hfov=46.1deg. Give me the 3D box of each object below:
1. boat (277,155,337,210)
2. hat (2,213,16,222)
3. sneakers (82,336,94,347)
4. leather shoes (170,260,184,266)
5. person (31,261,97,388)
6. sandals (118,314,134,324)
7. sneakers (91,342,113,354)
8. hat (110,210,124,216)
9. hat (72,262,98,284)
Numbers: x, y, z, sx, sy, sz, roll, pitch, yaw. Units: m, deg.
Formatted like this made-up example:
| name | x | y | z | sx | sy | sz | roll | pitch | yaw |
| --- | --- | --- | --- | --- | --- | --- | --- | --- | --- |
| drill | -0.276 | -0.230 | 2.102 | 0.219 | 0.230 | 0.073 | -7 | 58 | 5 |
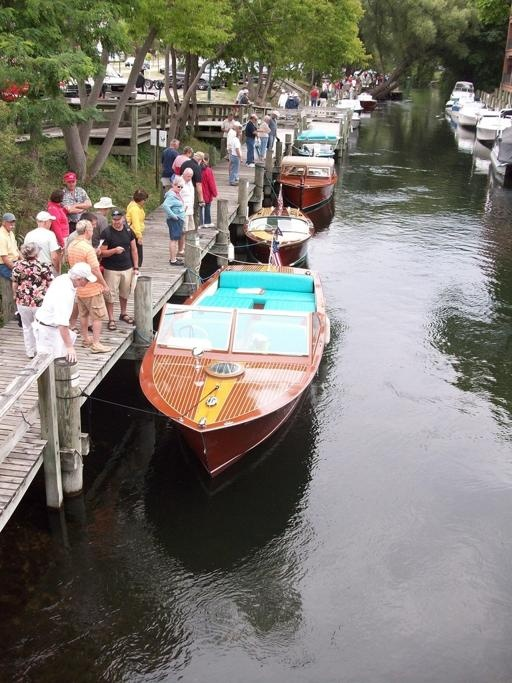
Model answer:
| name | x | y | z | sx | sy | sz | roll | pitch | yaw |
| --- | --- | --- | --- | --- | --- | --- | --- | --- | --- |
| boat | 1.994 | -6.165 | 23.619 | 2.175 | 1.892 | 2.558 | 4 | 18 | 4 |
| hat | -3.321 | -1.664 | 8.050 | 0.129 | 0.110 | 0.378 | -3 | 19 | -17 |
| sneakers | -2.366 | -0.001 | 8.428 | 0.092 | 0.097 | 0.223 | 4 | 23 | 2 |
| leather shoes | -1.633 | -1.628 | 12.426 | 0.243 | 0.090 | 0.137 | 2 | 33 | 1 |
| person | -2.224 | -0.202 | 6.890 | 0.579 | 0.804 | 1.549 | 0 | -25 | -35 |
| sandals | -2.037 | -0.339 | 9.449 | 0.262 | 0.102 | 0.105 | 28 | 50 | 30 |
| sneakers | -2.144 | 0.078 | 8.290 | 0.257 | 0.108 | 0.139 | -6 | 31 | -16 |
| hat | -1.919 | -1.767 | 8.308 | 0.157 | 0.101 | 0.157 | -2 | 19 | -15 |
| hat | -1.930 | -0.777 | 6.760 | 0.255 | 0.131 | 0.165 | 3 | 33 | -43 |
